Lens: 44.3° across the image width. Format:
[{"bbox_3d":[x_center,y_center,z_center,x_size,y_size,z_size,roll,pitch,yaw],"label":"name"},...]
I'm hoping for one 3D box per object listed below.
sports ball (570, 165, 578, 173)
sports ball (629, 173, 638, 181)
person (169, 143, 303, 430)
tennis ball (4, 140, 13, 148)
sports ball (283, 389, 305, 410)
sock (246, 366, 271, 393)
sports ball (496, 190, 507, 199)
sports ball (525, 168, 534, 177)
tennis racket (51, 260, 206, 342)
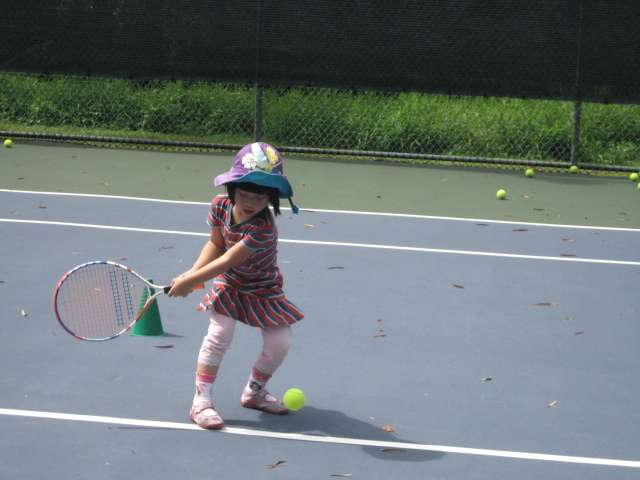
[{"bbox_3d":[3.549,-0.988,10.949,0.090,0.097,0.093,1,-2,0],"label":"sports ball"},{"bbox_3d":[4.287,-0.856,10.727,0.093,0.083,0.079,14,-22,-31],"label":"sports ball"},{"bbox_3d":[-0.495,0.275,4.912,0.767,1.703,0.612,4,14,5],"label":"person"},{"bbox_3d":[-4.494,-1.394,11.385,0.096,0.085,0.084,17,-17,31],"label":"tennis ball"},{"bbox_3d":[-0.163,1.025,5.087,0.111,0.120,0.116,16,-12,4],"label":"sports ball"},{"bbox_3d":[-0.413,0.896,5.086,0.188,0.176,0.099,-9,29,-45],"label":"sock"},{"bbox_3d":[2.244,-0.560,9.697,0.098,0.109,0.104,-9,28,5],"label":"sports ball"},{"bbox_3d":[2.925,-0.941,10.951,0.107,0.113,0.108,-18,-3,-1],"label":"sports ball"},{"bbox_3d":[-1.392,0.408,5.806,1.177,0.574,0.084,-9,-6,-39],"label":"tennis racket"}]
